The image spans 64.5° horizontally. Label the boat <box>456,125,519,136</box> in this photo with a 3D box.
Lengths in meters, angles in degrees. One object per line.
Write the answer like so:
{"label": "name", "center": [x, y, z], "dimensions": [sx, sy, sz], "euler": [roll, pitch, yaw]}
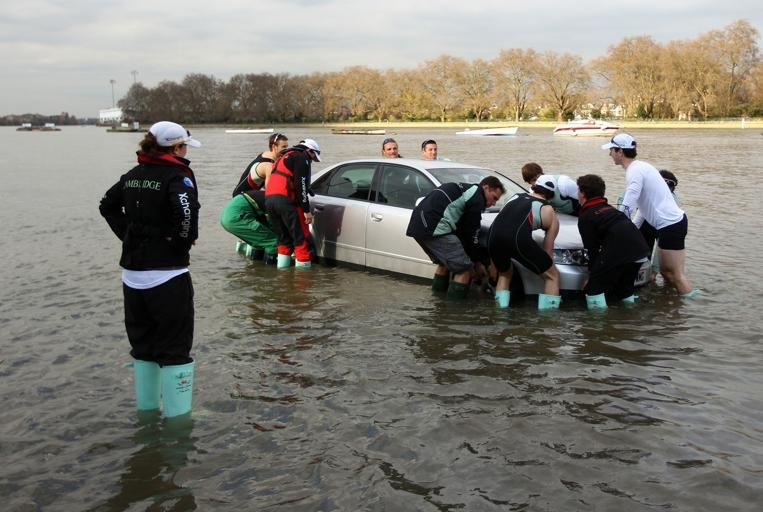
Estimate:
{"label": "boat", "center": [14.580, -17.424, 85.471], "dimensions": [6.205, 1.558, 14.475], "euler": [-1, 9, 1]}

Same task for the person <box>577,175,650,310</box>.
{"label": "person", "center": [3.126, -0.184, 8.348], "dimensions": [0.937, 1.823, 0.539], "euler": [4, 14, 24]}

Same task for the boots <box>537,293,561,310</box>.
{"label": "boots", "center": [2.306, 0.644, 8.356], "dimensions": [0.274, 0.166, 0.279], "euler": [-3, -4, 39]}

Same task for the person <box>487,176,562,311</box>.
{"label": "person", "center": [1.961, -0.039, 8.344], "dimensions": [0.972, 1.608, 0.516], "euler": [1, 13, 12]}

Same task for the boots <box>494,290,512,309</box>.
{"label": "boots", "center": [1.715, 0.615, 8.625], "dimensions": [0.324, 0.218, 0.218], "euler": [3, 7, 27]}

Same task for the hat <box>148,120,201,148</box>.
{"label": "hat", "center": [-1.927, -1.119, 5.592], "dimensions": [0.345, 0.236, 0.495], "euler": [9, 14, 43]}

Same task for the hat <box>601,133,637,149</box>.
{"label": "hat", "center": [3.430, -1.675, 9.010], "dimensions": [0.591, 0.202, 0.337], "euler": [5, 13, 23]}
